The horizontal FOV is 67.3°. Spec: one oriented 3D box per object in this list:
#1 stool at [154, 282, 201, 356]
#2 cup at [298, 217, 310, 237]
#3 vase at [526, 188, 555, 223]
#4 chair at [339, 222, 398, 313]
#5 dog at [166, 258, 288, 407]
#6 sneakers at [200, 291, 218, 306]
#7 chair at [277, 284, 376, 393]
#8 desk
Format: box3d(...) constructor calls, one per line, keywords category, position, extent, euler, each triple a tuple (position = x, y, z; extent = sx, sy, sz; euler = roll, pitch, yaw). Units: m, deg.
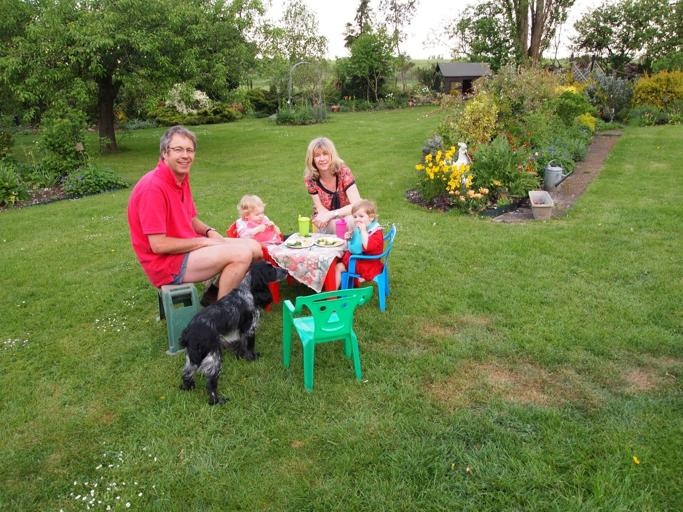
box3d(category="stool", position=(-1.807, 0.704, 5.831), extent=(0.470, 0.640, 0.532), euler=(-11, 7, -39))
box3d(category="cup", position=(-0.449, -0.383, 6.574), extent=(0.178, 0.269, 0.196), euler=(5, 16, 6))
box3d(category="vase", position=(3.578, -0.919, 9.137), extent=(0.329, 0.295, 0.745), euler=(-1, 30, 13))
box3d(category="chair", position=(0.348, 0.141, 6.611), extent=(0.694, 1.024, 0.766), euler=(-2, 20, -1))
box3d(category="dog", position=(-1.171, 0.752, 5.415), extent=(0.501, 1.237, 1.076), euler=(11, 19, 38))
box3d(category="sneakers", position=(-1.566, 0.508, 6.095), extent=(0.144, 0.255, 0.133), euler=(-3, 8, -36))
box3d(category="chair", position=(-0.166, 0.772, 5.504), extent=(0.826, 1.119, 0.800), euler=(-5, 17, -16))
box3d(category="desk", position=(-0.420, 0.187, 6.414), extent=(0.700, 0.424, 0.777), euler=(6, 51, 18))
